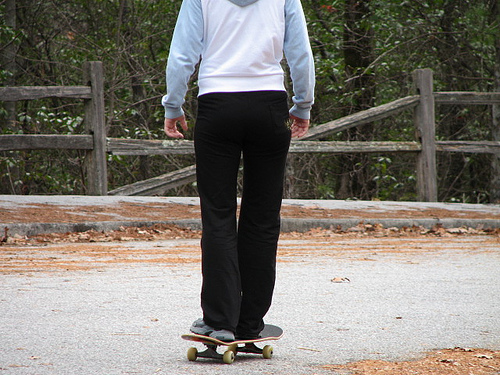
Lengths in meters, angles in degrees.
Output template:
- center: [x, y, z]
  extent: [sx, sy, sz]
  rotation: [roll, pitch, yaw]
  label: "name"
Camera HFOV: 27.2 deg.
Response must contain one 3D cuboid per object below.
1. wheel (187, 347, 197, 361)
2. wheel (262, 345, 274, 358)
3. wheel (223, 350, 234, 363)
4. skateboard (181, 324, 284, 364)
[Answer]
- center: [-0.575, 1.682, 10.537]
  extent: [0.099, 0.162, 0.168]
  rotation: [0, 2, 7]
  label: "wheel"
- center: [0.197, 1.664, 10.544]
  extent: [0.092, 0.128, 0.125]
  rotation: [-3, -16, 28]
  label: "wheel"
- center: [-0.210, 1.703, 10.536]
  extent: [0.106, 0.163, 0.174]
  rotation: [-2, -19, 14]
  label: "wheel"
- center: [-0.162, 1.616, 10.545]
  extent: [1.033, 0.237, 0.389]
  rotation: [0, 3, -45]
  label: "skateboard"
